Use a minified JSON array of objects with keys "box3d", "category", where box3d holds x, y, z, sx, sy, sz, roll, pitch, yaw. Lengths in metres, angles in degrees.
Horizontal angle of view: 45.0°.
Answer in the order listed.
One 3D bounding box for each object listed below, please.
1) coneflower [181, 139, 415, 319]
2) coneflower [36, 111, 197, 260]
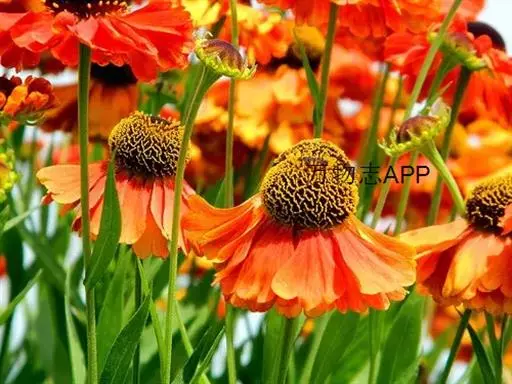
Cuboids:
[{"box3d":[0.082,0.071,1.184,0.470,0.317,0.556,-3,-7,0],"category":"coneflower"},{"box3d":[-0.253,-0.032,1.163,0.297,0.230,0.253,15,4,-22],"category":"coneflower"}]
